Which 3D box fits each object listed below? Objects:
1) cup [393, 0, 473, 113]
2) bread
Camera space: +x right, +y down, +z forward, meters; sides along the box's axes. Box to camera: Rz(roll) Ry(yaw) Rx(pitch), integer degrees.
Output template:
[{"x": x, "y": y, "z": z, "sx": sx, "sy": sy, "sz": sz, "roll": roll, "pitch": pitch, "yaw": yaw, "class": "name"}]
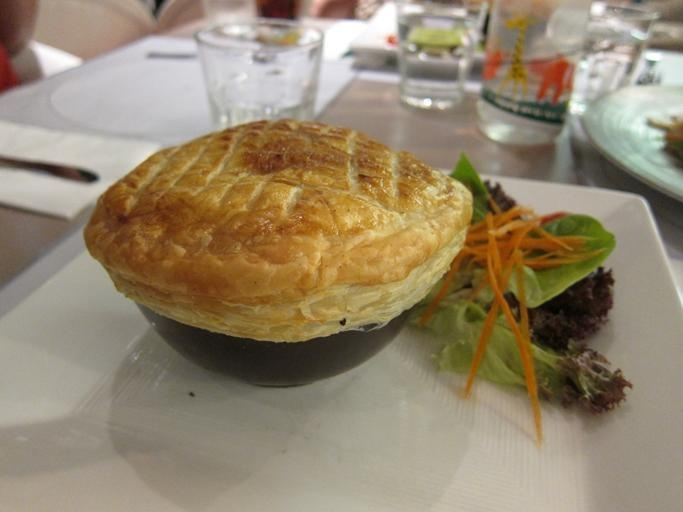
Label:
[{"x": 0.375, "y": -0.934, "z": 2.711, "sx": 0.441, "sy": 0.514, "sz": 0.456, "roll": -2, "pitch": 36, "yaw": 1, "class": "cup"}, {"x": -0.151, "y": -0.077, "z": 1.418, "sx": 0.933, "sy": 0.272, "sz": 0.547, "roll": 5, "pitch": 49, "yaw": 5, "class": "bread"}]
